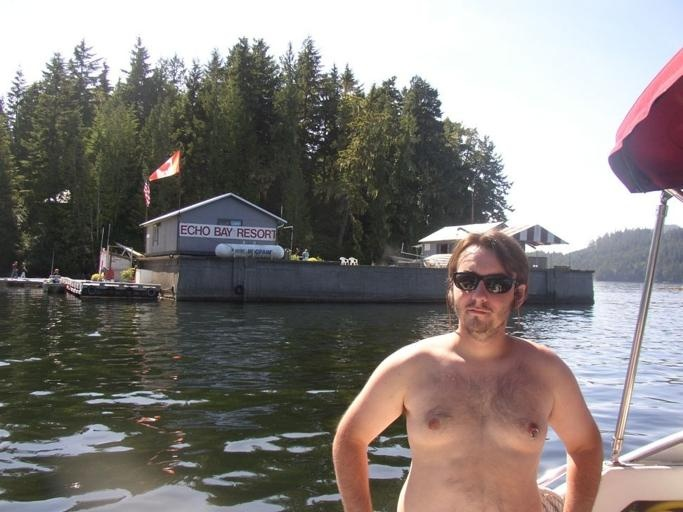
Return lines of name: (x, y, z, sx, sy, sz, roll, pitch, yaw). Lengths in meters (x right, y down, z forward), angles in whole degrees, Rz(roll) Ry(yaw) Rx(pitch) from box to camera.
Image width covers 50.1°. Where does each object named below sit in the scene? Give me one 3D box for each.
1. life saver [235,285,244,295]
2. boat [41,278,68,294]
life saver: (-5.018, 1.651, 35.853, 0.413, 0.475, 0.099, 4, 0, -14)
boat: (-16.574, 1.776, 42.903, 0.814, 0.519, 2.755, 1, -3, 0)
